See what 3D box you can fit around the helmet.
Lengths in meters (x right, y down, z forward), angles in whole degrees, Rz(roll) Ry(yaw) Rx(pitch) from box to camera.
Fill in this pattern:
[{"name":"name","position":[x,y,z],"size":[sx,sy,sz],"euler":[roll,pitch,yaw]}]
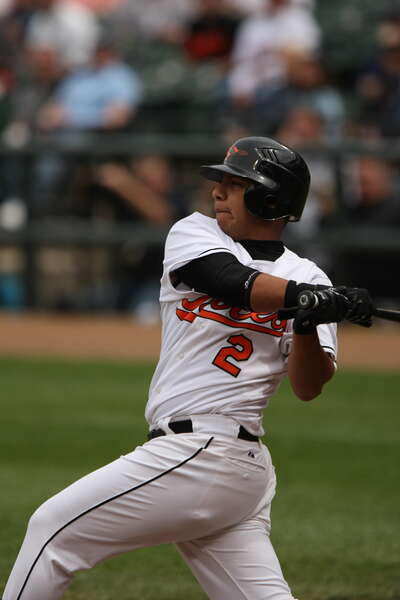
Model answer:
[{"name":"helmet","position":[0.112,-0.310,1.910],"size":[0.288,0.184,0.201],"euler":[10,-9,-1]}]

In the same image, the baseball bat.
[{"name":"baseball bat","position":[0.348,0.017,1.559],"size":[0.085,0.087,0.368],"euler":[4,7,42]}]
